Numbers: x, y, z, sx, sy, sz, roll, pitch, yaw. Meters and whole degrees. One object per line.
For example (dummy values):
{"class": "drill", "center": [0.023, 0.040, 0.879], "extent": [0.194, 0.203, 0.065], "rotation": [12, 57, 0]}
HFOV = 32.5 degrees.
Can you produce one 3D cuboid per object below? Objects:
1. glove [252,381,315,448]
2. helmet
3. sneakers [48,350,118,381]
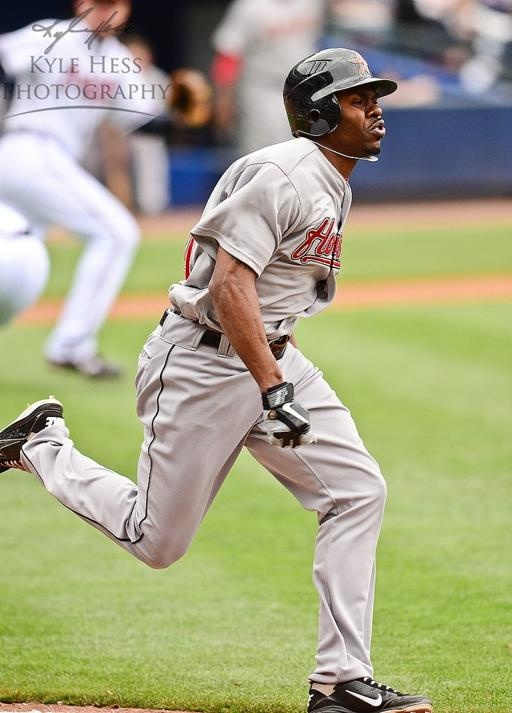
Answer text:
{"class": "glove", "center": [0.075, 0.121, 1.894], "extent": [0.104, 0.145, 0.067], "rotation": [-25, 28, 53]}
{"class": "helmet", "center": [0.162, -0.622, 2.177], "extent": [0.317, 0.190, 0.210], "rotation": [0, 1, 22]}
{"class": "sneakers", "center": [-1.097, 0.063, 5.828], "extent": [0.571, 0.184, 0.166], "rotation": [5, 18, 2]}
